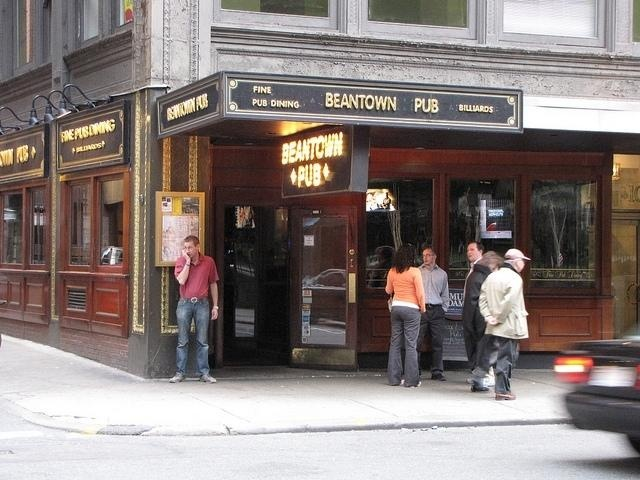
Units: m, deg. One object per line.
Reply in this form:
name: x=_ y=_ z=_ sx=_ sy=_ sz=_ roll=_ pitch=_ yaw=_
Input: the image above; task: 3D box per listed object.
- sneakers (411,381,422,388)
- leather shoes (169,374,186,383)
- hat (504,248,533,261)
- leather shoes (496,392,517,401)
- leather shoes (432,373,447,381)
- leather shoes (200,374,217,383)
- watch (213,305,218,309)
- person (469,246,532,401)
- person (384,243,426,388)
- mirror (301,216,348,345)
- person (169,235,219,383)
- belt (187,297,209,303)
sneakers: x=1.580 y=2.342 z=13.248 sx=0.081 sy=0.102 sz=0.229 roll=-1 pitch=-7 yaw=35
leather shoes: x=-2.312 y=2.209 z=13.085 sx=0.241 sy=0.142 sz=0.279 roll=1 pitch=1 yaw=-11
hat: x=3.079 y=0.230 z=12.400 sx=0.446 sy=0.189 sz=0.299 roll=4 pitch=4 yaw=-18
leather shoes: x=2.770 y=2.315 z=12.147 sx=0.212 sy=0.102 sz=0.125 roll=1 pitch=1 yaw=-2
leather shoes: x=2.066 y=2.357 z=14.133 sx=0.250 sy=0.122 sz=0.260 roll=1 pitch=1 yaw=7
leather shoes: x=-1.808 y=2.235 z=13.158 sx=0.275 sy=0.128 sz=0.306 roll=1 pitch=1 yaw=-12
watch: x=-1.740 y=1.117 z=13.474 sx=0.081 sy=0.061 sz=0.092 roll=2 pitch=0 yaw=3
person: x=2.720 y=1.254 z=12.340 sx=0.585 sy=2.225 sz=0.833 roll=1 pitch=1 yaw=-21
person: x=1.399 y=1.229 z=13.407 sx=0.636 sy=2.266 sz=0.583 roll=1 pitch=1 yaw=7
mirror: x=0.047 y=0.716 z=14.782 sx=1.015 sy=2.936 sz=0.197 roll=2 pitch=-31 yaw=-2
person: x=-2.048 y=1.109 z=13.221 sx=0.711 sy=2.340 sz=0.455 roll=1 pitch=1 yaw=-9
belt: x=-1.990 y=0.964 z=13.196 sx=0.327 sy=0.088 sz=0.076 roll=0 pitch=1 yaw=-27
